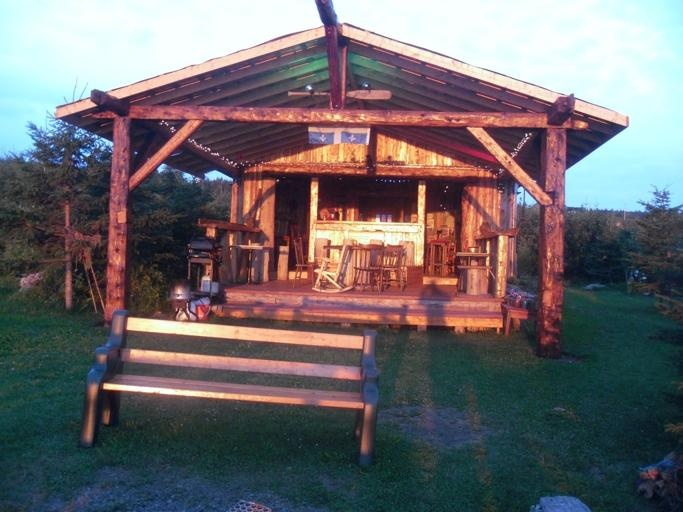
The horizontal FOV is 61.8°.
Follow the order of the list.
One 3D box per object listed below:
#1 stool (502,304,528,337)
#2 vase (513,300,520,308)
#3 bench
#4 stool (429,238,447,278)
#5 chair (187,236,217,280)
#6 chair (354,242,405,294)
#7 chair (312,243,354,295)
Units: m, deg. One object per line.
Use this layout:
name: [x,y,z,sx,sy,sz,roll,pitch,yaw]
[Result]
stool: [2.969,1.080,9.627,0.461,0.507,0.486,1,-1,1]
vase: [2.919,0.781,9.527,0.057,0.107,0.145,-1,11,-16]
bench: [-0.995,1.298,5.642,2.693,1.286,0.980,6,-5,-5]
stool: [2.587,0.018,15.306,0.476,1.009,1.615,2,10,3]
chair: [-2.404,0.009,9.747,0.492,0.743,0.621,2,12,-23]
chair: [0.836,0.236,11.815,0.902,1.422,0.970,0,-9,8]
chair: [-0.167,0.222,12.002,0.897,1.172,0.848,-2,-1,4]
